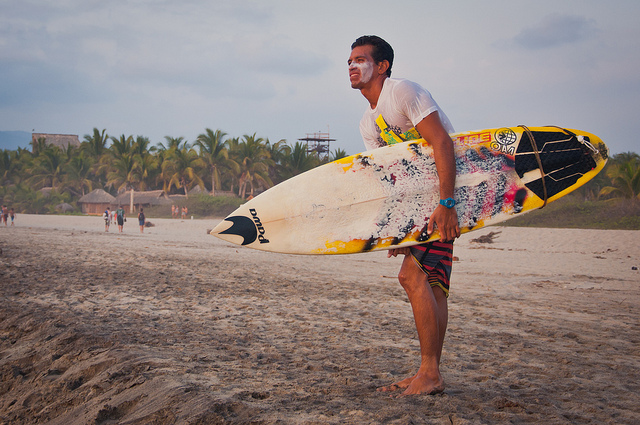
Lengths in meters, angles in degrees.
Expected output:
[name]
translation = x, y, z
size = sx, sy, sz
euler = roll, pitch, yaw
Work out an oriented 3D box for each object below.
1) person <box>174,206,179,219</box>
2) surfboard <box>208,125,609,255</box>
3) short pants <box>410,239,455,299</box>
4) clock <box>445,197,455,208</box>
[person]
translation = -9.160, -0.007, 43.296
size = 0.253, 0.679, 1.157
euler = -2, 2, -13
[surfboard]
translation = 0.519, -0.032, 7.327
size = 4.841, 1.354, 0.632
euler = -11, -8, 8
[short pants]
translation = 1.172, 0.514, 6.880
size = 0.503, 0.820, 0.666
euler = 0, -13, 5
[clock]
translation = 1.231, -0.090, 6.429
size = 0.095, 0.085, 0.027
euler = 5, 0, 2
